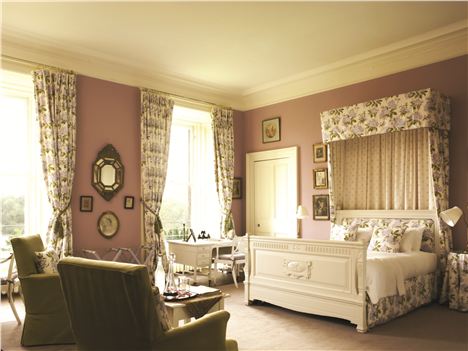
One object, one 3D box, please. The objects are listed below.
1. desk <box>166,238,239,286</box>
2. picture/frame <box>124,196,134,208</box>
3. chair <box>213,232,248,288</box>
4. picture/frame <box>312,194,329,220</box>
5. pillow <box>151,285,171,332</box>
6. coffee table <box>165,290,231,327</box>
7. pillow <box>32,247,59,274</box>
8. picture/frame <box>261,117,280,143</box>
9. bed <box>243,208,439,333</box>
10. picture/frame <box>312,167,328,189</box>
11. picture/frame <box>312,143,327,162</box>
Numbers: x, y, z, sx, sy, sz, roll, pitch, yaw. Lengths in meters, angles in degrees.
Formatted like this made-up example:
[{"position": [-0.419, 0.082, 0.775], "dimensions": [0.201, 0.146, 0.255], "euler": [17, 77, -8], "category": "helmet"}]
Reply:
[{"position": [-0.535, 1.873, 7.667], "dimensions": [1.007, 0.833, 1.599], "euler": [-6, -9, 44], "category": "desk"}, {"position": [-2.084, 0.525, 6.792], "dimensions": [0.226, 0.307, 0.030], "euler": [4, -7, -40], "category": "picture/frame"}, {"position": [-0.033, 1.715, 7.036], "dimensions": [0.620, 0.953, 0.646], "euler": [-4, -6, 29], "category": "chair"}, {"position": [1.822, 0.650, 7.127], "dimensions": [0.512, 0.726, 0.059], "euler": [-3, -3, 43], "category": "picture/frame"}, {"position": [-0.551, 0.991, 2.601], "dimensions": [0.128, 0.350, 0.205], "euler": [-1, 0, -11], "category": "pillow"}, {"position": [-0.359, 1.215, 3.427], "dimensions": [0.490, 0.466, 0.480], "euler": [3, -7, -40], "category": "coffee table"}, {"position": [-2.424, 1.135, 4.480], "dimensions": [0.172, 0.331, 0.481], "euler": [-1, -5, -7], "category": "pillow"}, {"position": [0.898, -1.097, 8.158], "dimensions": [0.071, 0.689, 0.629], "euler": [4, -5, -41], "category": "picture/frame"}, {"position": [1.891, 1.346, 5.904], "dimensions": [2.691, 1.745, 2.207], "euler": [7, -9, -42], "category": "bed"}, {"position": [1.813, 0.046, 7.179], "dimensions": [0.063, 0.571, 0.422], "euler": [6, -6, -44], "category": "picture/frame"}, {"position": [1.809, -0.486, 7.205], "dimensions": [0.378, 0.507, 0.049], "euler": [-5, -7, 43], "category": "picture/frame"}]
